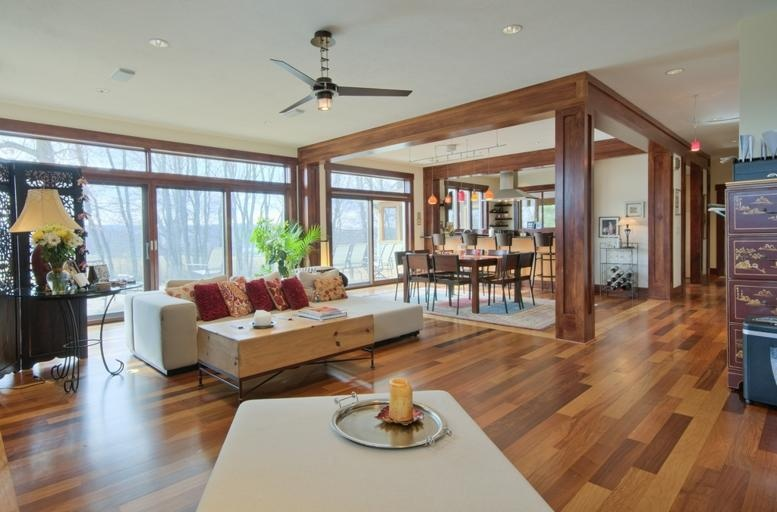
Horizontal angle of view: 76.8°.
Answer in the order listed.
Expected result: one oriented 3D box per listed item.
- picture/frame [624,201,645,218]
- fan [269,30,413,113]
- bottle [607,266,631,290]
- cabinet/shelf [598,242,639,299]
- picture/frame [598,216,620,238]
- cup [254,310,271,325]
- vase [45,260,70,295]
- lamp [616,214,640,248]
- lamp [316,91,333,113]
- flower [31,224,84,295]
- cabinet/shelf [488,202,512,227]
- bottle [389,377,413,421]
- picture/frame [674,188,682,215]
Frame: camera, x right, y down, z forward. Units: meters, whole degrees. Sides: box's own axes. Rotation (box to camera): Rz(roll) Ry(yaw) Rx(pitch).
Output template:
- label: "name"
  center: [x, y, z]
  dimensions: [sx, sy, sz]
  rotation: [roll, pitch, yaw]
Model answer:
- label: "picture/frame"
  center: [4.865, -0.922, 9.667]
  dimensions: [0.038, 0.339, 0.357]
  rotation: [2, 0, -30]
- label: "fan"
  center: [-0.704, -1.998, 5.657]
  dimensions: [1.175, 0.702, 1.365]
  rotation: [-6, 2, -17]
- label: "bottle"
  center: [4.506, 0.435, 9.539]
  dimensions: [0.478, 0.475, 0.210]
  rotation: [-5, 3, 21]
- label: "cabinet/shelf"
  center: [4.491, 0.299, 9.542]
  dimensions: [0.665, 0.969, 0.279]
  rotation: [1, -1, 30]
- label: "picture/frame"
  center: [4.492, -0.588, 9.950]
  dimensions: [0.041, 0.521, 0.487]
  rotation: [6, -3, -34]
- label: "cup"
  center: [-1.279, 0.620, 4.991]
  dimensions: [0.156, 0.132, 0.149]
  rotation: [0, -3, 0]
- label: "vase"
  center: [-3.586, 0.240, 5.316]
  dimensions: [0.235, 0.356, 0.215]
  rotation: [1, 5, 7]
- label: "lamp"
  center: [4.759, -0.484, 9.701]
  dimensions: [0.529, 0.628, 0.509]
  rotation: [0, -3, 9]
- label: "lamp"
  center: [-0.683, -1.673, 5.316]
  dimensions: [0.166, 0.160, 0.221]
  rotation: [-5, 2, -7]
- label: "flower"
  center: [-3.619, 0.038, 5.365]
  dimensions: [0.466, 0.792, 0.552]
  rotation: [-7, 3, -34]
- label: "cabinet/shelf"
  center: [3.440, -1.264, 14.997]
  dimensions: [0.750, 0.824, 0.394]
  rotation: [-5, 3, 12]
- label: "bottle"
  center: [0.075, 0.901, 3.087]
  dimensions: [0.168, 0.226, 0.170]
  rotation: [0, 5, 0]
- label: "picture/frame"
  center: [5.559, -1.047, 9.400]
  dimensions: [0.086, 0.511, 0.482]
  rotation: [-4, 2, 36]
